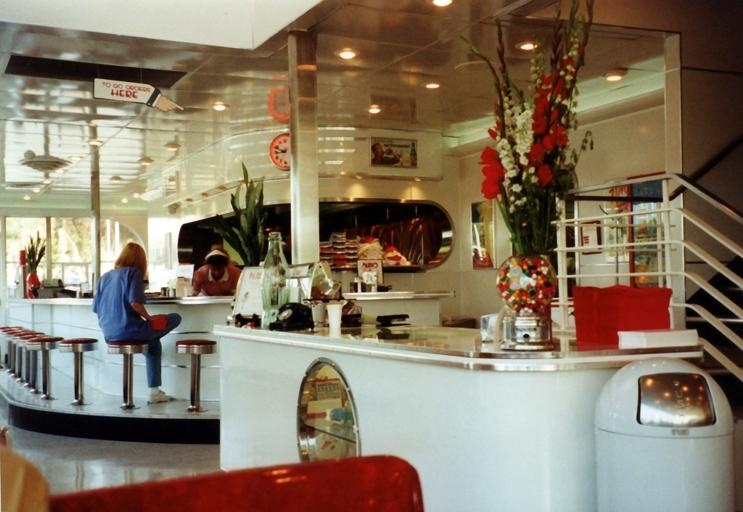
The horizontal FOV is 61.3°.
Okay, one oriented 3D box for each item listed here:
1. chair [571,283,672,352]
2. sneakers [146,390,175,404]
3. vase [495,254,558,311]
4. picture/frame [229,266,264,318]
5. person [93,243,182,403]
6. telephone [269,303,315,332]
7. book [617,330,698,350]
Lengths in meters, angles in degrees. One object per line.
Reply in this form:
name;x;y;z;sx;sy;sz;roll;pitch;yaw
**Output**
chair;1.200;0.265;3.073;0.369;0.387;0.349;1;-1;-29
sneakers;-2.295;1.529;6.867;0.288;0.125;0.138;-1;1;-34
vase;0.671;0.124;2.893;0.263;0.293;0.269;0;-3;-2
picture/frame;-0.961;0.269;4.915;0.203;0.401;0.430;2;-7;-14
person;-2.562;0.724;6.743;0.806;1.722;0.511;2;-7;-15
telephone;-0.513;0.390;4.041;0.236;0.136;0.164;-3;3;-31
book;1.304;0.389;2.950;0.425;0.088;0.171;2;-7;-15
